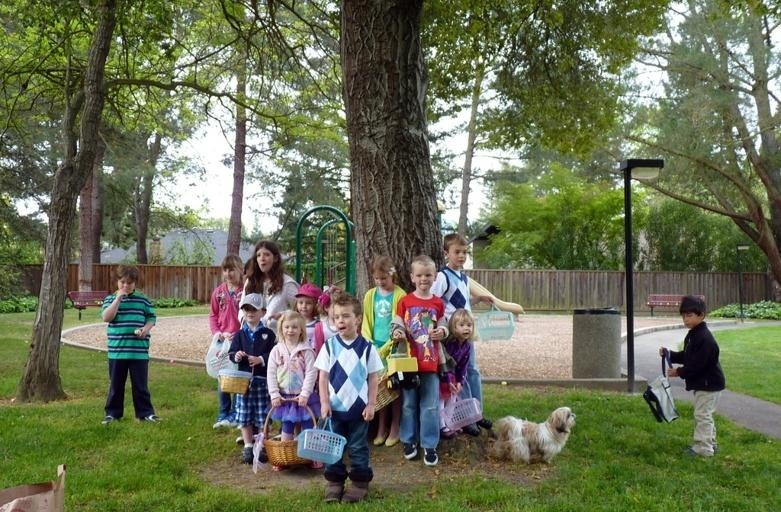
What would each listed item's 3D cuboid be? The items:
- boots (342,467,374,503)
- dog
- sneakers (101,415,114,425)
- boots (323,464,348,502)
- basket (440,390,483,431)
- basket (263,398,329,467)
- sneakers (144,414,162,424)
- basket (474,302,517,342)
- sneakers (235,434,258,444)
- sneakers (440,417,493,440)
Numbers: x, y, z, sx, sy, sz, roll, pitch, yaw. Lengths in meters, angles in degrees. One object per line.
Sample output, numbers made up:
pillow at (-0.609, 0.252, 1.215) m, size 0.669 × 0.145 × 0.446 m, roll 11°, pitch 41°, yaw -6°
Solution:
boots at (-0.481, 3.392, 11.098) m, size 0.486 × 0.410 × 0.374 m, roll -3°, pitch 12°, yaw -17°
dog at (2.321, 2.890, 12.134) m, size 1.287 × 0.912 × 0.687 m, roll 3°, pitch 4°, yaw 11°
sneakers at (-4.843, 2.820, 12.806) m, size 0.238 × 0.087 × 0.322 m, roll -2°, pitch 12°, yaw -15°
boots at (-0.841, 3.390, 11.215) m, size 0.344 × 0.570 × 0.838 m, roll 1°, pitch -6°, yaw -1°
basket at (1.136, 2.503, 11.910) m, size 0.624 × 0.484 × 0.241 m, roll -12°, pitch -6°, yaw 12°
basket at (-1.462, 2.853, 11.779) m, size 0.882 × 1.214 × 0.930 m, roll 3°, pitch -4°, yaw 2°
sneakers at (-4.149, 2.848, 13.016) m, size 0.246 × 0.107 × 0.126 m, roll -4°, pitch -6°, yaw 27°
basket at (1.728, 1.168, 12.656) m, size 0.698 × 0.549 × 0.511 m, roll 3°, pitch -22°, yaw -3°
sneakers at (-2.456, 3.047, 12.443) m, size 0.196 × 0.209 × 0.472 m, roll 4°, pitch -14°, yaw -17°
sneakers at (1.173, 2.772, 11.989) m, size 0.600 × 0.193 × 0.249 m, roll -14°, pitch -41°, yaw -1°
